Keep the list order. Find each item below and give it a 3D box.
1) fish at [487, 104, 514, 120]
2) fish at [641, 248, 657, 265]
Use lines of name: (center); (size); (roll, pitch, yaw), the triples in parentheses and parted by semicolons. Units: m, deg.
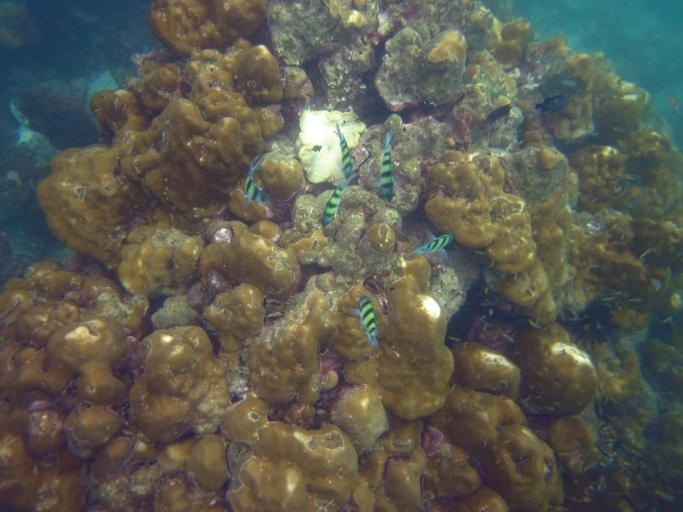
fish: (3.789, -3.443, 19.684); (0.411, 0.446, 0.125); (-20, 83, 16)
fish: (7.282, -0.066, 19.632); (0.371, 0.173, 0.178); (-40, 82, -18)
